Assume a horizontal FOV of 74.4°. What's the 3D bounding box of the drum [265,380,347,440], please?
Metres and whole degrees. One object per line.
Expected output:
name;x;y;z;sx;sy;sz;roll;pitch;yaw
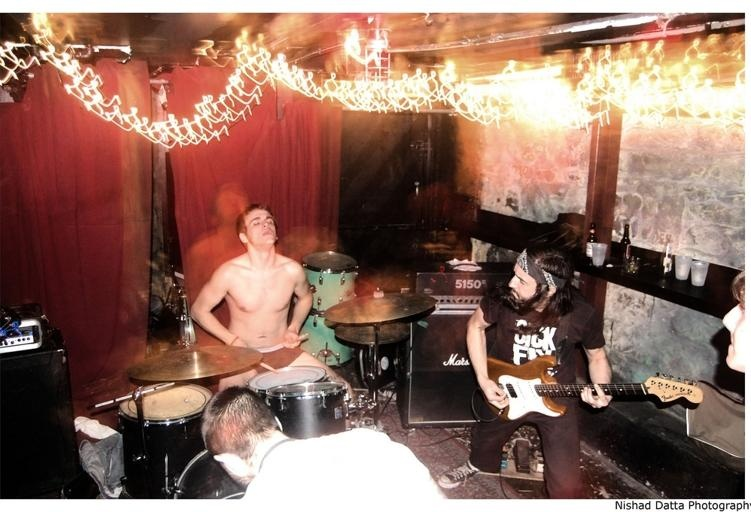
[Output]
drum;-0.535;1.232;3.949;0.500;0.295;0.489;-1;7;0

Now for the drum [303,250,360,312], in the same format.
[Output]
drum;-0.538;0.300;6.206;0.687;0.581;0.663;1;10;-5

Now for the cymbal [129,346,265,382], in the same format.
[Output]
cymbal;-1.418;0.839;3.868;0.520;0.114;0.505;-2;5;-37

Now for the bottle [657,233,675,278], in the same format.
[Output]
bottle;2.762;-0.007;4.665;0.108;0.311;0.398;8;19;29

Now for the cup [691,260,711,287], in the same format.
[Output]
cup;2.851;0.147;4.348;0.130;0.200;0.228;10;20;34

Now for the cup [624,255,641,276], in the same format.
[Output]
cup;2.452;0.081;4.758;0.166;0.173;0.167;2;-4;0

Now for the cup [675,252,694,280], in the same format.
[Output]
cup;2.751;0.104;4.423;0.193;0.286;0.208;2;2;0

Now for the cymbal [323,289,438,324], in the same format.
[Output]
cymbal;0.066;0.581;4.692;1.018;0.380;0.627;-1;16;5

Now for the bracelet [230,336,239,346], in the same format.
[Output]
bracelet;-1.320;0.796;4.624;0.075;0.017;0.075;-39;15;-28
